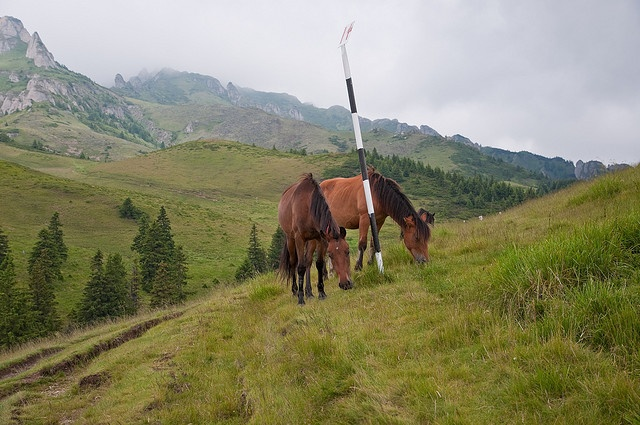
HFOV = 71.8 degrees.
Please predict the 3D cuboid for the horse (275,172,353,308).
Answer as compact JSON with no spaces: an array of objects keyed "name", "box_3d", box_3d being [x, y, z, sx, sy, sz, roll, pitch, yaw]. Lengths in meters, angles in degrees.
[{"name":"horse","box_3d":[-0.259,0.788,15.537,1.392,4.408,3.494,-2,2,-28]}]
